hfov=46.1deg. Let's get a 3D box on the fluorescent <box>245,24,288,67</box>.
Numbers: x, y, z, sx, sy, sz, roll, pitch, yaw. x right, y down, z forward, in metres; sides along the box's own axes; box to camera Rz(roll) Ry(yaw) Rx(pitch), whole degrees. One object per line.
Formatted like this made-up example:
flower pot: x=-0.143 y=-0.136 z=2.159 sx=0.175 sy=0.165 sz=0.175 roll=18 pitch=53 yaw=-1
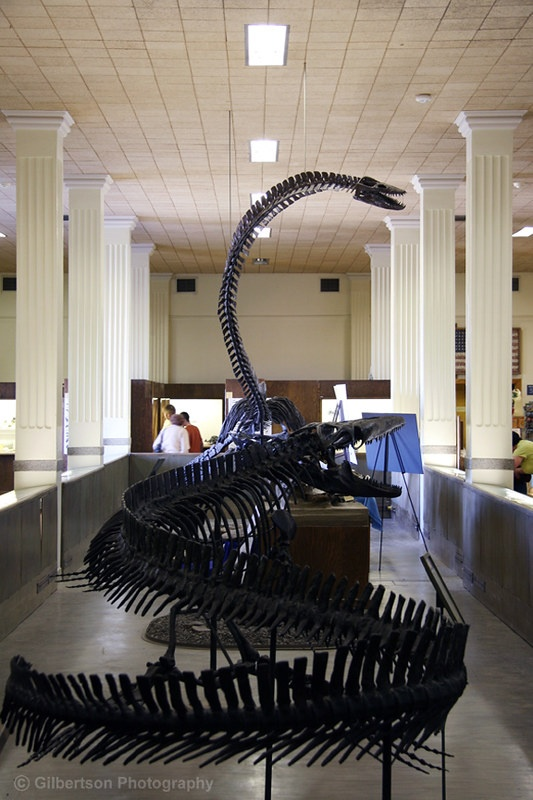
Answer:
fluorescent: x=0.013 y=-2.589 z=4.582 sx=0.234 sy=0.032 sz=0.274 roll=-1 pitch=-4 yaw=-2
